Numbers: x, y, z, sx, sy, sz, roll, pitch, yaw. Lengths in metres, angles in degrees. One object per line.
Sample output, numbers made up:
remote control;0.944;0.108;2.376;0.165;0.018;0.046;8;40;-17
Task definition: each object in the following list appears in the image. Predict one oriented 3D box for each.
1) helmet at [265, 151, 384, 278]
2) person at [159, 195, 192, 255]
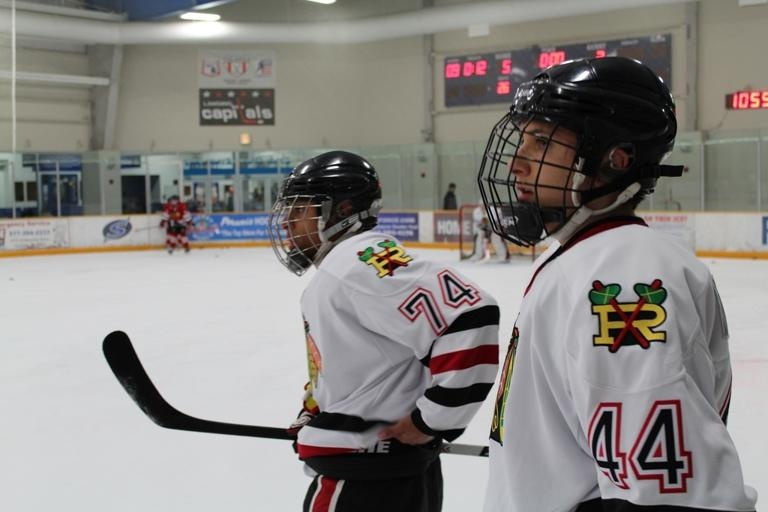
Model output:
helmet;-0.203;-0.172;3.136;0.465;0.454;0.354;-3;2;4
person;-3.819;-0.573;14.691;0.500;1.028;0.690;-3;9;-15
